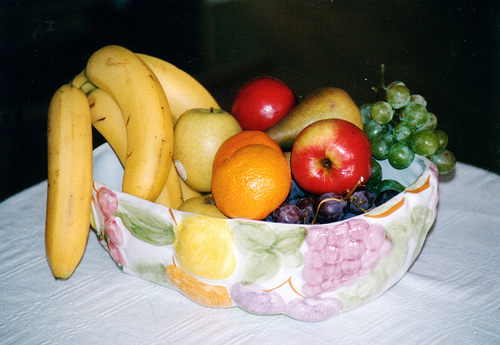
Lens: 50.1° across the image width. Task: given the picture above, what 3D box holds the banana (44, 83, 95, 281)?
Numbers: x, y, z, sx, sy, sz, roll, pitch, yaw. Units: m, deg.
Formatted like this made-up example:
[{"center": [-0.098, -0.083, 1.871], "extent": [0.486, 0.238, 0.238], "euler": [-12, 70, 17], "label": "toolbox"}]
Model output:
[{"center": [-0.367, 0.018, 1.145], "extent": [0.096, 0.420, 0.108], "euler": [1, -8, 18], "label": "banana"}]

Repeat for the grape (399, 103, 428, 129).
[{"center": [0.375, -0.130, 1.237], "extent": [0.066, 0.057, 0.043], "euler": [12, 21, 27], "label": "grape"}]

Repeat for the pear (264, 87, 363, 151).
[{"center": [0.146, -0.135, 1.296], "extent": [0.219, 0.107, 0.122], "euler": [-24, 20, 3], "label": "pear"}]

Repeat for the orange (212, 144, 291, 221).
[{"center": [0.005, 0.023, 1.090], "extent": [0.146, 0.147, 0.081], "euler": [-19, 12, -1], "label": "orange"}]

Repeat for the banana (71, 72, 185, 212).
[{"center": [-0.267, -0.061, 1.152], "extent": [0.075, 0.290, 0.093], "euler": [-23, -2, -34], "label": "banana"}]

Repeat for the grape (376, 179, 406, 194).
[{"center": [0.304, 0.029, 1.166], "extent": [0.041, 0.023, 0.031], "euler": [7, 27, 10], "label": "grape"}]

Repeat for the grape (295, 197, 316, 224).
[{"center": [0.119, 0.077, 1.105], "extent": [0.044, 0.055, 0.045], "euler": [-1, -11, 14], "label": "grape"}]

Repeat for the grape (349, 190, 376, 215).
[{"center": [0.230, 0.054, 1.094], "extent": [0.038, 0.030, 0.052], "euler": [22, 40, 35], "label": "grape"}]

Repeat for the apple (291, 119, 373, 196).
[{"center": [0.173, -0.024, 1.121], "extent": [0.153, 0.162, 0.157], "euler": [-2, -6, 9], "label": "apple"}]

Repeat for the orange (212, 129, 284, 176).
[{"center": [-0.013, -0.053, 1.117], "extent": [0.102, 0.058, 0.109], "euler": [-16, -1, -1], "label": "orange"}]

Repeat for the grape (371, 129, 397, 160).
[{"center": [0.312, -0.062, 1.239], "extent": [0.051, 0.057, 0.074], "euler": [12, 21, 28], "label": "grape"}]

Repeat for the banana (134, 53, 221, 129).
[{"center": [-0.191, -0.188, 1.378], "extent": [0.272, 0.065, 0.149], "euler": [38, 30, -5], "label": "banana"}]

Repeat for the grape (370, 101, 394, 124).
[{"center": [0.300, -0.137, 1.222], "extent": [0.044, 0.055, 0.049], "euler": [-3, 47, 7], "label": "grape"}]

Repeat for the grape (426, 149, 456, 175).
[{"center": [0.453, -0.027, 1.253], "extent": [0.065, 0.051, 0.051], "euler": [13, -21, -14], "label": "grape"}]

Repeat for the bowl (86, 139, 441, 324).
[{"center": [0.053, 0.164, 1.038], "extent": [0.434, 0.165, 0.435], "euler": [6, 4, 0], "label": "bowl"}]

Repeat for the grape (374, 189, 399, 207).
[{"center": [0.284, 0.050, 1.111], "extent": [0.041, 0.024, 0.031], "euler": [-31, 4, -34], "label": "grape"}]
